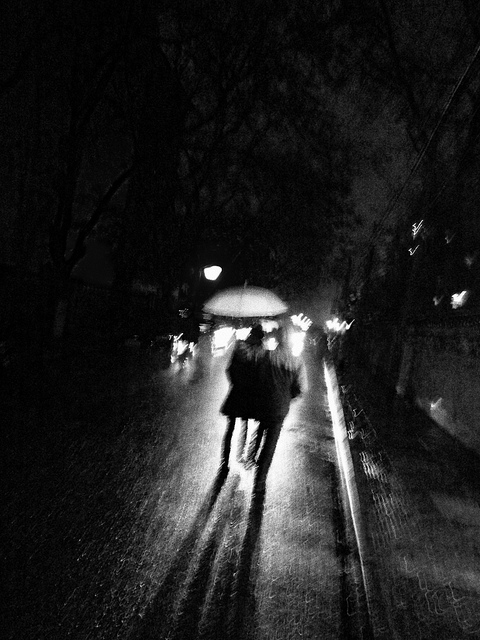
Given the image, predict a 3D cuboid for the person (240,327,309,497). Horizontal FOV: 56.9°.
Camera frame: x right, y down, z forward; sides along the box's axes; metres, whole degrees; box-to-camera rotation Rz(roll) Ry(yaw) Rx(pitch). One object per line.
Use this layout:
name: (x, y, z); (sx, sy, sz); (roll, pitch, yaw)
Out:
person: (0.270, 0.785, 4.783); (0.580, 2.682, 0.707); (9, 37, 6)
